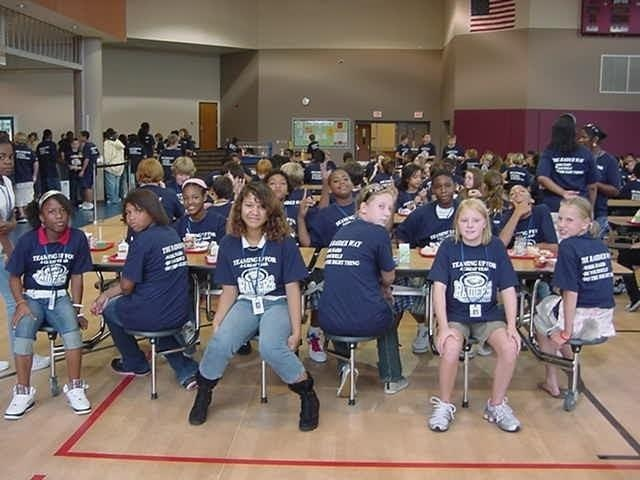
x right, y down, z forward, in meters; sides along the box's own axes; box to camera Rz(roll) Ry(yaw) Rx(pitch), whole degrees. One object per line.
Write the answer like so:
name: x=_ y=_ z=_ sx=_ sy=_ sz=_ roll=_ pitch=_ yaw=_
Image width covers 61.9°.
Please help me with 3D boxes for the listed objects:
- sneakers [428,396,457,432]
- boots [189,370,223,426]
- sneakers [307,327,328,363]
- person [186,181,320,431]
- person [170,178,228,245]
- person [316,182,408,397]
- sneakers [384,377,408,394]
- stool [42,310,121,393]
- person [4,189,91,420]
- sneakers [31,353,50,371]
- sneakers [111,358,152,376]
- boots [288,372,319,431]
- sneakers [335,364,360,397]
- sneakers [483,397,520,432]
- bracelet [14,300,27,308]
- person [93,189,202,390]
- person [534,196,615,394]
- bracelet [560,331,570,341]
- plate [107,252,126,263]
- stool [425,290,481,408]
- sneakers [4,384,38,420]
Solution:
sneakers: x=0.794 y=1.138 z=3.528 sx=0.171 sy=0.133 sz=0.309 roll=8 pitch=16 yaw=23
boots: x=-0.778 y=1.055 z=3.533 sx=0.154 sy=0.295 sz=0.415 roll=11 pitch=16 yaw=3
sneakers: x=-0.028 y=0.898 z=4.577 sx=0.123 sy=0.145 sz=0.348 roll=-2 pitch=6 yaw=-6
person: x=-0.437 y=0.419 z=3.546 sx=0.856 sy=1.561 sz=0.560 roll=0 pitch=11 yaw=-1
person: x=-1.126 y=-0.252 z=4.985 sx=0.729 sy=0.700 sz=0.413 roll=2 pitch=7 yaw=15
person: x=0.314 y=0.394 z=3.808 sx=0.456 sy=1.521 sz=0.663 roll=8 pitch=13 yaw=34
sneakers: x=0.570 y=1.077 z=3.999 sx=0.209 sy=0.078 sz=0.079 roll=-10 pitch=12 yaw=-44
stool: x=-1.871 y=0.885 z=4.059 sx=0.443 sy=0.468 sz=0.442 roll=-17 pitch=-5 yaw=0
person: x=-1.904 y=0.414 z=3.749 sx=0.550 sy=1.464 sz=0.665 roll=-3 pitch=12 yaw=-17
sneakers: x=-2.282 y=0.993 z=4.347 sx=0.077 sy=0.087 sz=0.214 roll=9 pitch=10 yaw=38
sneakers: x=-1.523 y=1.006 z=4.306 sx=0.304 sy=0.125 sz=0.136 roll=6 pitch=-2 yaw=11
boots: x=-0.097 y=1.041 z=3.502 sx=0.182 sy=0.357 sz=0.219 roll=2 pitch=11 yaw=10
sneakers: x=0.162 y=1.054 z=3.967 sx=0.157 sy=0.197 sz=0.143 roll=8 pitch=-4 yaw=31
sneakers: x=1.186 y=1.132 z=3.503 sx=0.125 sy=0.146 sz=0.319 roll=-15 pitch=15 yaw=-21
bracelet: x=-2.110 y=0.465 z=3.794 sx=0.074 sy=0.042 sz=0.089 roll=10 pitch=-8 yaw=5
person: x=-1.269 y=0.383 z=3.958 sx=0.712 sy=1.495 sz=0.455 roll=4 pitch=12 yaw=20
person: x=1.761 y=0.454 z=3.697 sx=0.498 sy=1.472 sz=0.530 roll=6 pitch=13 yaw=28
bracelet: x=1.600 y=0.643 z=3.517 sx=0.038 sy=0.060 sz=0.062 roll=0 pitch=-9 yaw=18
plate: x=-1.582 y=0.143 z=4.157 sx=0.103 sy=0.024 sz=0.102 roll=-2 pitch=13 yaw=-12
stool: x=0.860 y=0.703 z=3.560 sx=0.197 sy=0.764 sz=0.233 roll=1 pitch=-6 yaw=-10
sneakers: x=-2.027 y=1.087 z=3.593 sx=0.119 sy=0.131 sz=0.281 roll=0 pitch=2 yaw=-7
